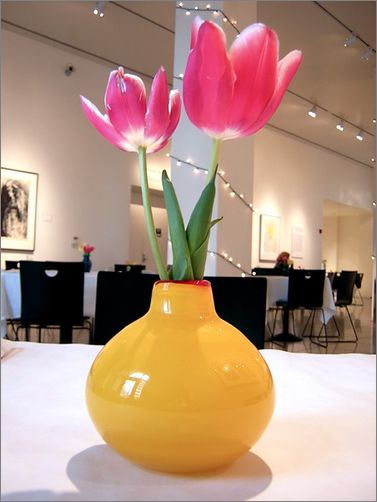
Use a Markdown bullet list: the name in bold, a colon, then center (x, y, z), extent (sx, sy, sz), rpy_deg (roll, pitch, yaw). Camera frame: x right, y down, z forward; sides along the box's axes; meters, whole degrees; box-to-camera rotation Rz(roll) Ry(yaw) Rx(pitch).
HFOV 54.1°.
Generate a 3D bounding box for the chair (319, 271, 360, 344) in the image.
- **chair**: center (2.069, 0.765, 5.060), extent (0.515, 1.091, 0.629), rpy_deg (-3, -4, 5)

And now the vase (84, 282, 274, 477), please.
- **vase**: center (0.002, 0.095, 0.284), extent (0.108, 0.142, 0.125), rpy_deg (0, -4, -19)

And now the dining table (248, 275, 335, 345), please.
- **dining table**: center (1.106, 0.549, 3.883), extent (0.489, 0.913, 0.500), rpy_deg (-4, 12, -25)

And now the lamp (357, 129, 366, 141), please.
- **lamp**: center (4.121, -2.777, 8.792), extent (0.123, 0.213, 0.361), rpy_deg (1, 44, 14)

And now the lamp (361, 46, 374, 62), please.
- **lamp**: center (2.770, -3.056, 5.711), extent (0.105, 0.257, 0.093), rpy_deg (17, -9, 12)

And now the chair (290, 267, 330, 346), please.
- **chair**: center (1.192, 0.548, 3.814), extent (0.280, 0.757, 0.370), rpy_deg (3, 2, 8)
